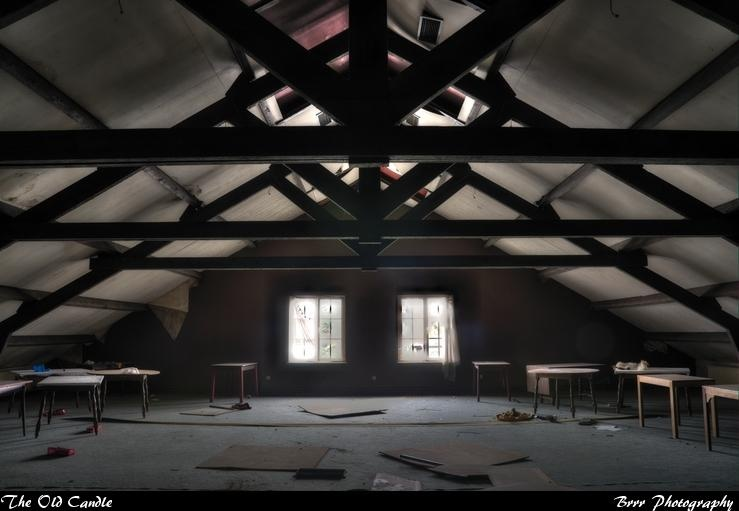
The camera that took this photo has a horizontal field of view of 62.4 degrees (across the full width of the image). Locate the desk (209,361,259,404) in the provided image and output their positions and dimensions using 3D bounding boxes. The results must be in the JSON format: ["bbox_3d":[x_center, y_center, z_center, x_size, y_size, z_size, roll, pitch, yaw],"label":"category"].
[{"bbox_3d":[-2.562,2.298,11.023,0.588,0.595,0.901,1,-8,-10],"label":"desk"}]
